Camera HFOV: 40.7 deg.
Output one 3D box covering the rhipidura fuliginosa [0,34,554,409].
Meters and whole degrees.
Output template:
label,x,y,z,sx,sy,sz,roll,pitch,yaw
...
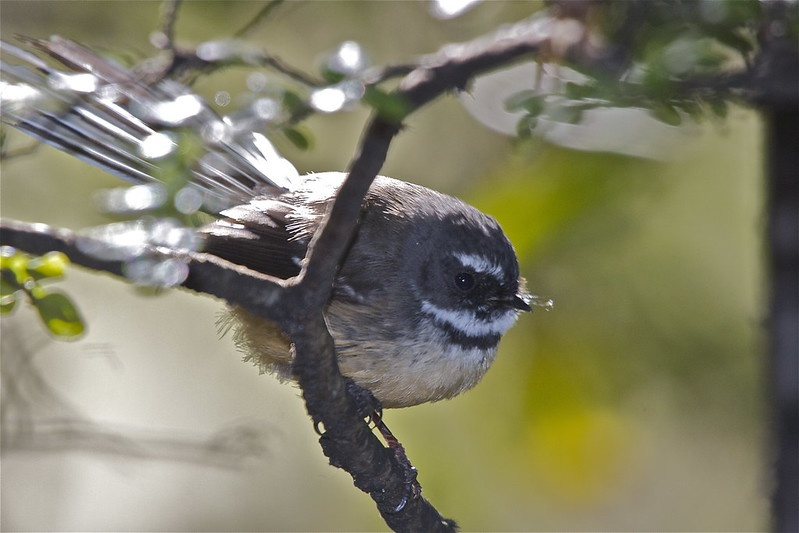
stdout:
label,x,y,z,sx,sy,sz,roll,pitch,yaw
rhipidura fuliginosa,-0.247,-0.042,2.442,1.165,0.695,0.515,9,58,10
